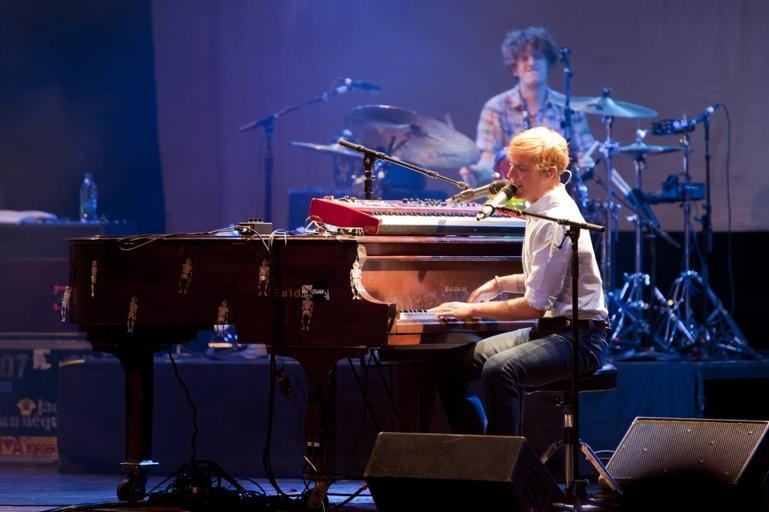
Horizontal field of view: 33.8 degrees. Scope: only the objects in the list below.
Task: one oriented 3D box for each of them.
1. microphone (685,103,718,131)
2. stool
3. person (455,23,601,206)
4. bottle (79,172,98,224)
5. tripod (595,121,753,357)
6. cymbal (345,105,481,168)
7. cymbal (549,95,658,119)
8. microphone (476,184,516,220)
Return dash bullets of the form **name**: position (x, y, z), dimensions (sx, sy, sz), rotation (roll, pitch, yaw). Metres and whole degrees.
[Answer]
- **microphone**: position (3.068, -1.320, 12.202), dimensions (0.099, 0.163, 0.418), rotation (37, -43, -23)
- **stool**: position (1.418, 1.369, 9.699), dimensions (0.960, 1.216, 0.941), rotation (0, -3, 13)
- **person**: position (1.371, -1.325, 12.289), dimensions (1.161, 1.773, 0.669), rotation (-3, 13, -14)
- **bottle**: position (-2.829, -0.557, 12.164), dimensions (0.169, 0.455, 0.329), rotation (0, 1, -13)
- **tripod**: position (2.817, -0.037, 11.935), dimensions (0.838, 2.441, 1.025), rotation (-2, 8, -1)
- **cymbal**: position (0.290, -1.112, 12.112), dimensions (0.834, 0.213, 0.776), rotation (22, -13, -19)
- **cymbal**: position (2.200, -1.421, 12.175), dimensions (0.784, 0.181, 0.322), rotation (0, 1, 12)
- **microphone**: position (0.834, -0.388, 9.421), dimensions (0.395, 0.101, 0.105), rotation (-41, 8, -31)
